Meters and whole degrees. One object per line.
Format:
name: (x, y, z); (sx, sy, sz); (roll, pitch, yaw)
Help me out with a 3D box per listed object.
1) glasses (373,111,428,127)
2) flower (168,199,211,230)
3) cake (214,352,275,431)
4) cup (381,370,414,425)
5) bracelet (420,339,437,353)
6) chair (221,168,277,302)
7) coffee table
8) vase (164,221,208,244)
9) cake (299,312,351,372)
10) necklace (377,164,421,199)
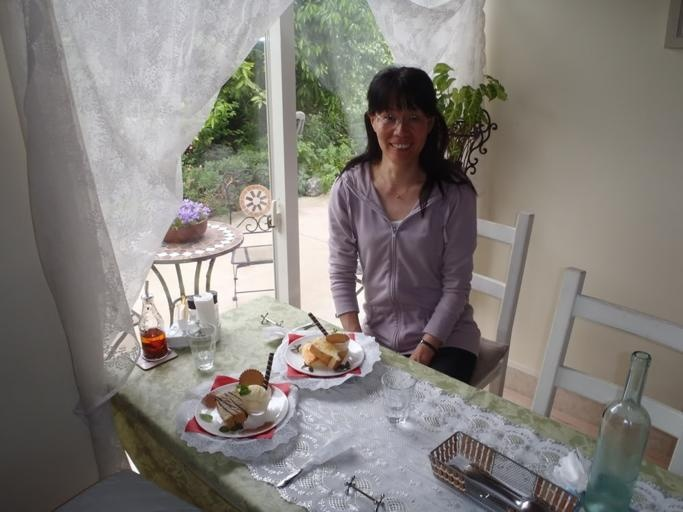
glasses: (0.238, -0.550, 1.893); (0.198, 0.053, 0.072); (4, 16, 18)
flower: (-0.671, -0.194, 2.088); (0.149, 0.119, 0.184); (0, 18, -7)
cake: (-0.283, 0.393, 1.320); (0.059, 0.130, 0.178); (-19, -7, 0)
cup: (0.147, 0.403, 1.399); (0.111, 0.145, 0.125); (1, 12, 3)
bracelet: (0.346, 0.347, 1.864); (0.046, 0.014, 0.048); (44, -5, -5)
chair: (-0.430, -0.075, 2.336); (0.259, 0.523, 0.274); (-14, 14, -42)
coffee table: (-0.629, 0.059, 2.319); (0.385, 0.480, 0.416); (8, 22, 20)
vase: (-0.706, -0.126, 2.136); (0.110, 0.052, 0.113); (-4, 15, -7)
cake: (-0.048, 0.282, 1.583); (0.126, 0.072, 0.187); (11, 32, -9)
necklace: (0.240, -0.302, 1.980); (0.189, 0.124, 0.076); (11, -17, 8)
